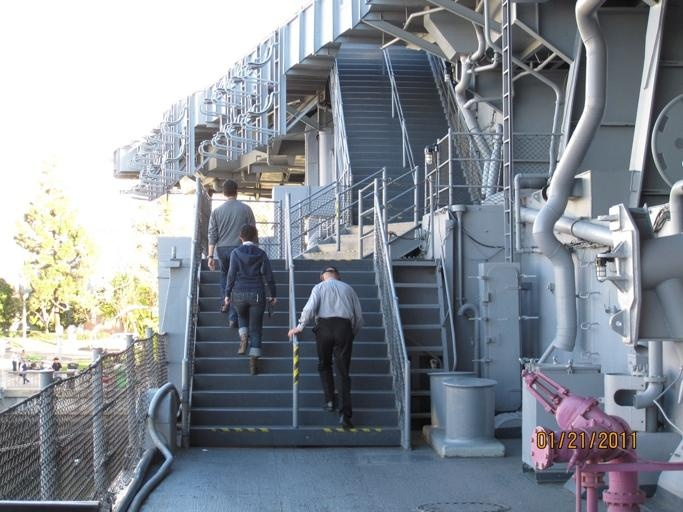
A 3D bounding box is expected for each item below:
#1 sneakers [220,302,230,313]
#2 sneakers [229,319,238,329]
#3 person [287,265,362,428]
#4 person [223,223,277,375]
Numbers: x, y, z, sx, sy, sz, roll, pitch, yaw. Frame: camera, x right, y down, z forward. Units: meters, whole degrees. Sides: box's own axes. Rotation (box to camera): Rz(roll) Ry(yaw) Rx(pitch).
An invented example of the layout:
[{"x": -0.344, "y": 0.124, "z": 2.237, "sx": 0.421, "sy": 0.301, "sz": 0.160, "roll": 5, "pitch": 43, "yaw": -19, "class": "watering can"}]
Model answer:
[{"x": -1.645, "y": 0.744, "z": 11.217, "sx": 0.069, "sy": 0.082, "sz": 0.207, "roll": 3, "pitch": -21, "yaw": -11, "class": "sneakers"}, {"x": -1.527, "y": 0.962, "z": 11.170, "sx": 0.102, "sy": 0.123, "sz": 0.282, "roll": 0, "pitch": -8, "yaw": -5, "class": "sneakers"}, {"x": -0.162, "y": 1.173, "z": 10.215, "sx": 0.848, "sy": 2.093, "sz": 0.556, "roll": 0, "pitch": -5, "yaw": -4, "class": "person"}, {"x": -1.304, "y": 0.598, "z": 10.799, "sx": 0.549, "sy": 2.014, "sz": 0.706, "roll": 4, "pitch": -7, "yaw": -43, "class": "person"}]
